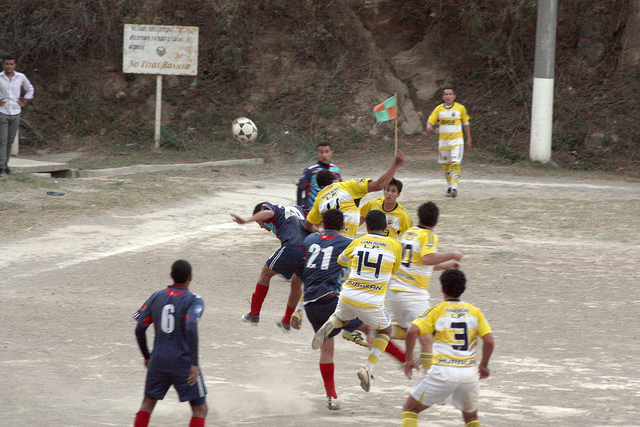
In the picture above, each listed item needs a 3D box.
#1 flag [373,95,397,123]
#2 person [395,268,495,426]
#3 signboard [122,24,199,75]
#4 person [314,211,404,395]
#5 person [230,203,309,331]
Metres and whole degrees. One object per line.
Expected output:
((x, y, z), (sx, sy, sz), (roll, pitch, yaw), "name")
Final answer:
((1.497, -2.455, 27.223), (0.813, 0.461, 0.226), (-15, 10, -39), "flag")
((2.323, 2.431, 20.907), (1.561, 2.825, 0.469), (4, 4, 2), "person")
((-5.057, -5.079, 35.935), (0.304, 1.564, 3.048), (14, 14, 40), "signboard")
((0.801, 1.674, 21.807), (1.328, 3.443, 0.775), (4, 4, 3), "person")
((-0.893, 1.077, 23.237), (1.225, 2.553, 0.868), (4, 4, -1), "person")
